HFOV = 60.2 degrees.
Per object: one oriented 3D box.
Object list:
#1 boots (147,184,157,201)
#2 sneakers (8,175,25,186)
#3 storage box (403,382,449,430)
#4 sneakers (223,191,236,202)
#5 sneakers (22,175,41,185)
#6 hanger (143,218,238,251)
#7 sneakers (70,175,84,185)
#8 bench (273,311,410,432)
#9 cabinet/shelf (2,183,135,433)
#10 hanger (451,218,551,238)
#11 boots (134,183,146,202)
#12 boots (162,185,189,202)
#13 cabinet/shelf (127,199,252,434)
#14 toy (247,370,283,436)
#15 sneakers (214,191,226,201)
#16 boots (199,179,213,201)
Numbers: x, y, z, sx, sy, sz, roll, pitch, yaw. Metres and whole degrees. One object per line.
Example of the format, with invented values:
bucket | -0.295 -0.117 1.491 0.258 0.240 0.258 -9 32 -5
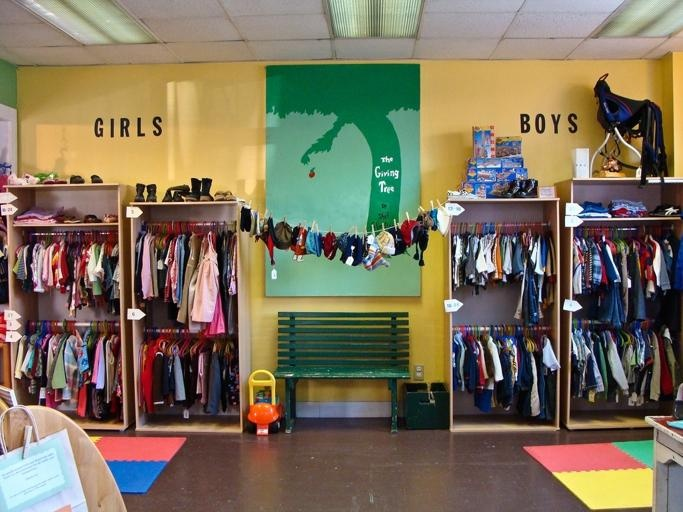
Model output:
boots | -2.055 -0.687 6.408 0.099 0.163 0.208 -7 17 -21
sneakers | -3.556 -0.817 6.477 0.132 0.088 0.184 2 -3 -24
storage box | 0.943 1.623 6.505 0.483 0.397 0.462 0 16 4
sneakers | -1.216 -0.647 6.435 0.135 0.066 0.178 -1 0 -9
sneakers | -3.396 -0.835 6.452 0.141 0.049 0.140 -6 21 -44
hanger | -1.554 -0.314 6.662 1.314 0.424 0.489 -1 10 -8
sneakers | -2.911 -0.838 6.517 0.115 0.086 0.121 -5 3 10
bench | 0.046 1.293 6.600 1.110 0.976 0.480 0 -4 0
cabinet/shelf | -2.965 0.528 6.574 1.421 2.630 1.018 0 15 4
hanger | 1.747 -0.300 6.497 0.954 0.185 0.152 -4 -2 -2
boots | -2.196 -0.707 6.459 0.132 0.186 0.294 -6 17 -18
boots | -1.773 -0.662 6.493 0.355 0.156 0.138 -8 -17 5
cabinet/shelf | -1.656 0.622 6.511 1.302 2.446 1.006 -1 15 0
toy | -0.831 1.637 6.529 0.361 0.752 0.662 -1 -7 0
sneakers | -1.313 -0.655 6.430 0.089 0.039 0.128 -4 22 -10
boots | -1.467 -0.732 6.423 0.128 0.211 0.313 -4 16 -13
